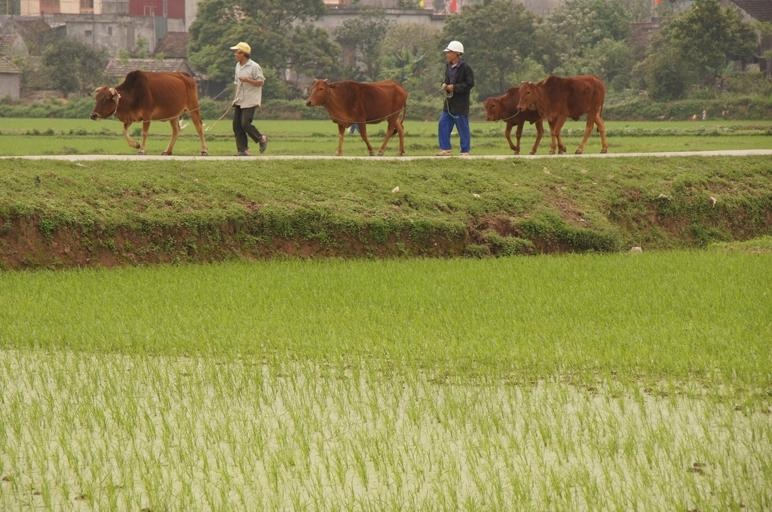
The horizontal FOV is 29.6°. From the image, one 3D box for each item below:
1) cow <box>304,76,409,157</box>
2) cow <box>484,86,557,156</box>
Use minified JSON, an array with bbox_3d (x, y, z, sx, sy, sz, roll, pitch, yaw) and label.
[{"bbox_3d":[-0.966,-6.371,62.707,5.956,4.862,1.998,1,-2,-34],"label":"cow"},{"bbox_3d":[5.543,-6.136,64.506,4.007,4.217,1.603,3,-5,-20],"label":"cow"}]
